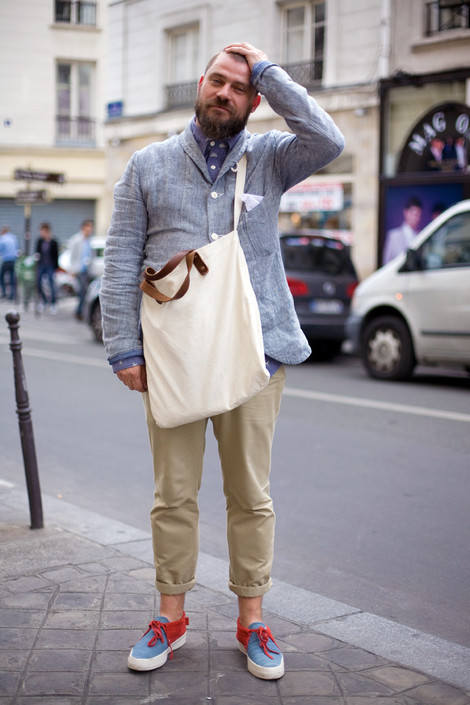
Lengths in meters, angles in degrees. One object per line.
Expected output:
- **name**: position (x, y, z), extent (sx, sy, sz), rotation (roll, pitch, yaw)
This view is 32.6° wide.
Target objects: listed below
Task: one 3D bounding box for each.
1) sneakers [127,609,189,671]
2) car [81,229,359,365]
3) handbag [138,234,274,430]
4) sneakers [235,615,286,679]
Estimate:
- **sneakers**: position (-0.219, 0.835, 2.321), extent (0.075, 0.074, 0.187), rotation (8, 11, 27)
- **car**: position (0.053, -0.775, 10.371), extent (2.892, 1.351, 1.638), rotation (6, 5, 9)
- **handbag**: position (-0.079, -0.066, 2.270), extent (0.451, 0.564, 0.176), rotation (-17, -16, 13)
- **sneakers**: position (0.075, 0.842, 2.273), extent (0.065, 0.065, 0.184), rotation (-4, 9, -18)
